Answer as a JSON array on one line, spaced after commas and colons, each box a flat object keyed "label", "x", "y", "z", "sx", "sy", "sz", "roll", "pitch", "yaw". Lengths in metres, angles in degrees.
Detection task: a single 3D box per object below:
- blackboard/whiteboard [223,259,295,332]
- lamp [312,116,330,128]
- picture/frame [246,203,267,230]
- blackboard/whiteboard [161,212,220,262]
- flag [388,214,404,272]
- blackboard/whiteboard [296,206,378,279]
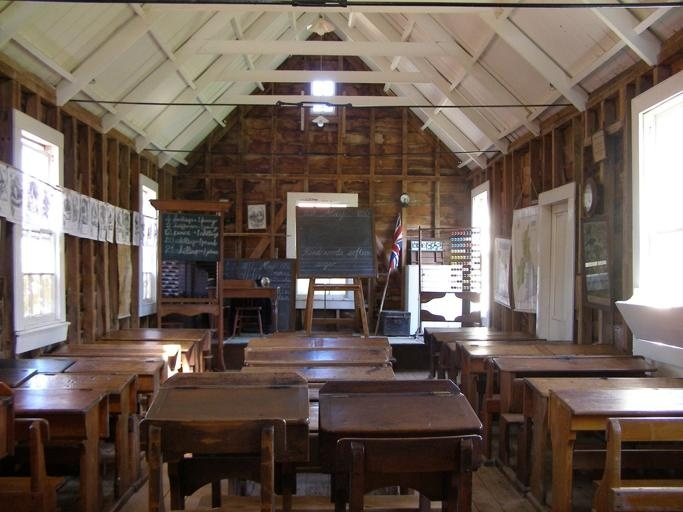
[{"label": "blackboard/whiteboard", "x": -1.363, "y": 0.686, "z": 10.149, "sx": 1.063, "sy": 1.092, "sz": 0.400, "roll": -1, "pitch": -7, "yaw": 2}, {"label": "lamp", "x": -0.348, "y": -2.342, "z": 10.610, "sx": 0.307, "sy": 0.246, "sz": 0.141, "roll": -1, "pitch": -47, "yaw": -8}, {"label": "picture/frame", "x": -1.517, "y": -0.706, "z": 10.985, "sx": 0.423, "sy": 0.609, "sz": 0.059, "roll": 0, "pitch": -7, "yaw": -10}, {"label": "blackboard/whiteboard", "x": -1.998, "y": -0.244, "z": 8.138, "sx": 0.599, "sy": 0.547, "sz": 0.072, "roll": 0, "pitch": -3, "yaw": -8}, {"label": "flag", "x": 0.967, "y": -0.248, "z": 10.904, "sx": 0.269, "sy": 1.055, "sz": 0.558, "roll": 0, "pitch": -4, "yaw": 4}, {"label": "blackboard/whiteboard", "x": -0.071, "y": -0.160, "z": 7.644, "sx": 0.842, "sy": 0.902, "sz": 0.087, "roll": 0, "pitch": -23, "yaw": -3}]
